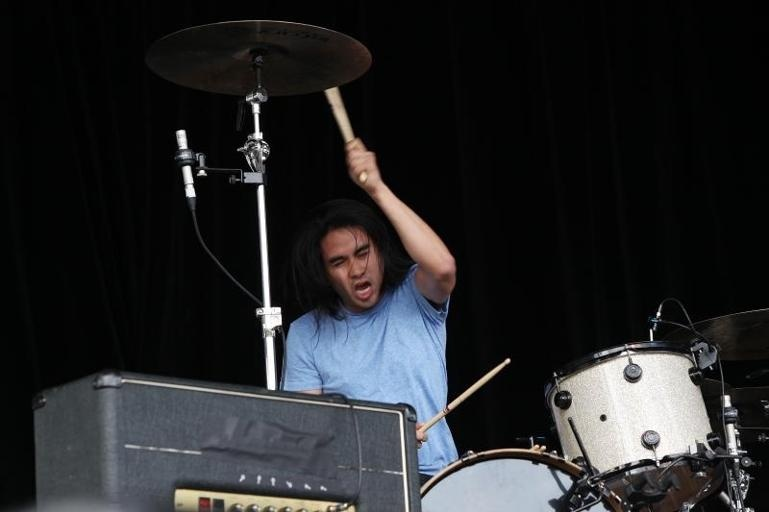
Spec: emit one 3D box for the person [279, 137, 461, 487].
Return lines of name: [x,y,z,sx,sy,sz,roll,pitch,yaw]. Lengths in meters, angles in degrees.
person: [-0.065,0.336,4.977,0.842,1.302,0.790,-18,-17,28]

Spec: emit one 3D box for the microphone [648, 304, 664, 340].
microphone: [1.170,0.293,5.245,0.052,0.190,0.056,7,-55,2]

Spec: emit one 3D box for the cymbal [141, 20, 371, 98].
cymbal: [-0.487,-0.758,4.670,0.848,0.104,0.424,-3,-19,-6]

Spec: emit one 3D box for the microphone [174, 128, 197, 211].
microphone: [-0.755,-0.312,4.590,0.071,0.424,0.322,-2,-18,-9]
